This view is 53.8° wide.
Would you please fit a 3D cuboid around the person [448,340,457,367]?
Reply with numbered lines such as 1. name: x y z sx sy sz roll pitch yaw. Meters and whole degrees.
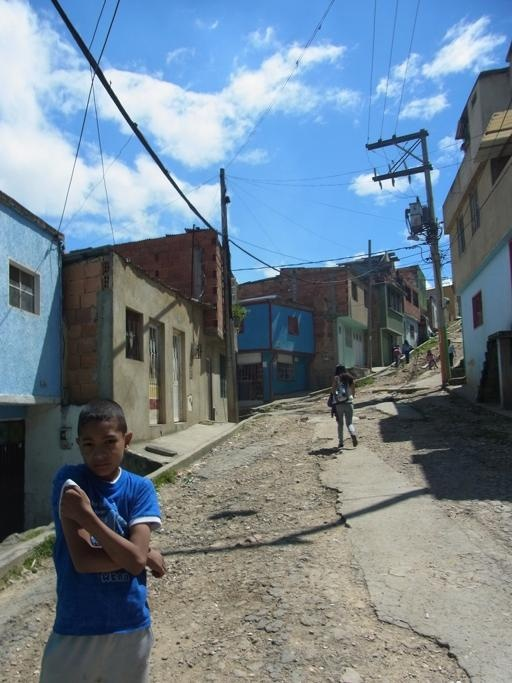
1. person: 9.253 0.582 23.891 0.355 1.253 0.779 0 0 -5

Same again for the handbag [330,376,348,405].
1. handbag: 1.488 0.880 9.030 0.333 0.588 0.294 -2 -15 -2

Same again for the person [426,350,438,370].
1. person: 8.573 0.954 24.560 0.445 0.683 1.000 -9 -14 18
